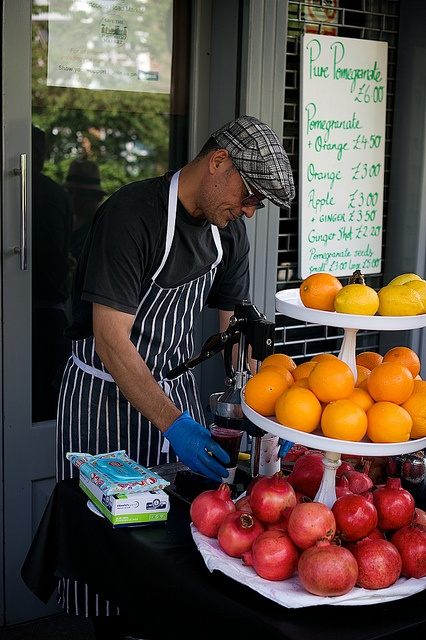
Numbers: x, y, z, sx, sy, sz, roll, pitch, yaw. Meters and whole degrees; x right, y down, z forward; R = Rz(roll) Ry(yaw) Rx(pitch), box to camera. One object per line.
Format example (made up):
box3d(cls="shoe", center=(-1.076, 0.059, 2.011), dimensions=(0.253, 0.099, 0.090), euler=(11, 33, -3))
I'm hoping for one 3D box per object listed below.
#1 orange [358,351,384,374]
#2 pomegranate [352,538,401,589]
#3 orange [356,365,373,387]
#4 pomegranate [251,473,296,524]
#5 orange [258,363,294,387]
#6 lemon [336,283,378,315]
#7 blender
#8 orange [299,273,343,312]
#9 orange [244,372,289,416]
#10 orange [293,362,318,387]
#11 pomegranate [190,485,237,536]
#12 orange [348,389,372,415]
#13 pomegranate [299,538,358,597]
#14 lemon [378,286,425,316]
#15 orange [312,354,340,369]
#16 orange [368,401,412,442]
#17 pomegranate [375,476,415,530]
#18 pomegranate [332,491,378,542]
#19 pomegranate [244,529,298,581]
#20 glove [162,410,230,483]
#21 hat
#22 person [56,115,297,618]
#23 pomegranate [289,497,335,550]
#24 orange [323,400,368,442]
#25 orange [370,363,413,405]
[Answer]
box3d(cls="orange", center=(0.331, 0.089, 1.087), dimensions=(0.046, 0.046, 0.053), euler=(15, -16, -36))
box3d(cls="pomegranate", center=(0.228, 0.343, 0.710), dimensions=(0.079, 0.052, 0.076), euler=(1, 12, 13))
box3d(cls="orange", center=(0.282, 0.108, 0.961), dimensions=(0.031, 0.037, 0.031), euler=(3, 0, -3))
box3d(cls="pomegranate", center=(0.097, 0.277, 0.828), dimensions=(0.077, 0.093, 0.075), euler=(6, -7, 4))
box3d(cls="orange", center=(0.122, 0.102, 0.954), dimensions=(0.039, 0.047, 0.039), euler=(0, 1, -9))
box3d(cls="lemon", center=(0.234, -0.034, 0.831), dimensions=(0.072, 0.047, 0.083), euler=(3, 11, 13))
box3d(cls="blender", center=(-0.032, 0.172, 1.133), dimensions=(0.225, 0.395, 0.288), euler=(1, 15, -4))
box3d(cls="orange", center=(0.194, -0.046, 0.880), dimensions=(0.069, 0.061, 0.111), euler=(-1, 11, -7))
box3d(cls="orange", center=(0.096, 0.127, 0.911), dimensions=(0.068, 0.079, 0.069), euler=(-6, 31, -32))
box3d(cls="orange", center=(0.164, 0.098, 0.940), dimensions=(0.041, 0.050, 0.040), euler=(11, 17, 19))
box3d(cls="pomegranate", center=(-0.002, 0.322, 0.911), dimensions=(0.088, 0.076, 0.082), euler=(14, 19, 42))
box3d(cls="orange", center=(0.240, 0.130, 0.820), dimensions=(0.034, 0.041, 0.034), euler=(-2, 5, 35))
box3d(cls="pomegranate", center=(0.156, 0.342, 0.699), dimensions=(0.076, 0.076, 0.079), euler=(8, -24, -7))
box3d(cls="lemon", center=(0.311, -0.037, 0.841), dimensions=(0.063, 0.049, 0.048), euler=(3, 13, 28))
box3d(cls="orange", center=(0.191, 0.071, 0.860), dimensions=(0.033, 0.021, 0.033), euler=(-3, 13, -1))
box3d(cls="orange", center=(0.256, 0.155, 0.752), dimensions=(0.061, 0.055, 0.054), euler=(8, 13, 34))
box3d(cls="pomegranate", center=(0.291, 0.311, 0.840), dimensions=(0.064, 0.080, 0.056), euler=(-5, 12, -26))
box3d(cls="pomegranate", center=(0.214, 0.307, 0.776), dimensions=(0.065, 0.063, 0.060), euler=(4, 11, 16))
box3d(cls="pomegranate", center=(0.087, 0.349, 0.739), dimensions=(0.063, 0.069, 0.055), euler=(-9, 14, -40))
box3d(cls="glove", center=(-0.032, 0.279, 1.130), dimensions=(0.098, 0.125, 0.130), euler=(-6, 16, -27))
box3d(cls="hat", center=(0.106, -0.362, 1.184), dimensions=(0.219, 0.112, 0.160), euler=(43, 18, 2))
box3d(cls="person", center=(-0.042, 0.232, 1.517), dimensions=(0.610, 1.469, 0.641), euler=(-6, 16, -30))
box3d(cls="pomegranate", center=(0.143, 0.305, 0.754), dimensions=(0.069, 0.082, 0.073), euler=(-2, -11, 14))
box3d(cls="orange", center=(0.188, 0.145, 0.733), dimensions=(0.066, 0.052, 0.060), euler=(4, 11, 17))
box3d(cls="orange", center=(0.280, 0.101, 0.804), dimensions=(0.073, 0.064, 0.059), euler=(12, 18, 40))
